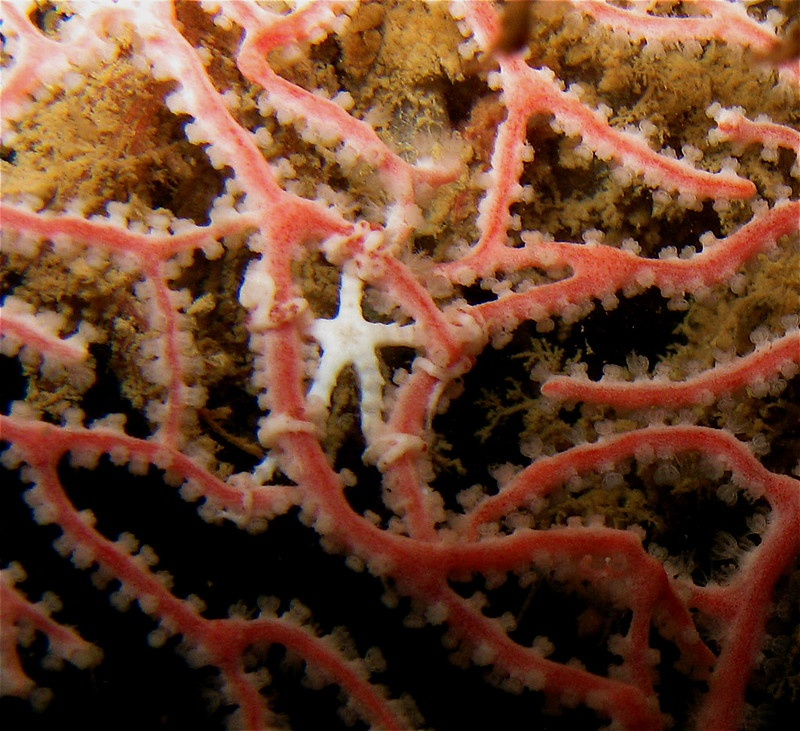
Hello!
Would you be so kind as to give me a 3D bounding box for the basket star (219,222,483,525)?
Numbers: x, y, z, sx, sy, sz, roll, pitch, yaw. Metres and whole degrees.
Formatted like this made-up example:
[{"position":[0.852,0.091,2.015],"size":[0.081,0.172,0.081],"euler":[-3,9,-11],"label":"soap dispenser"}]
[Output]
[{"position":[-0.130,-0.002,3.171],"size":[0.603,0.580,0.645],"euler":[3,47,14],"label":"basket star"}]
